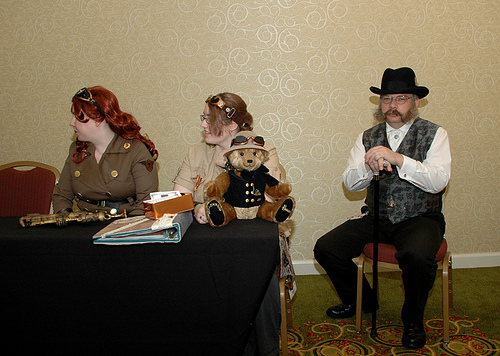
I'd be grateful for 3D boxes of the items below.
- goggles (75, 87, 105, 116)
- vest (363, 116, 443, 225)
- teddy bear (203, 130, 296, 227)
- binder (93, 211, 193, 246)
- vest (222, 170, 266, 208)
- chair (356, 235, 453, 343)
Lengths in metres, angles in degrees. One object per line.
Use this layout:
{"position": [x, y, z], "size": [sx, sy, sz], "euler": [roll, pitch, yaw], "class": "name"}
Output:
{"position": [-1.091, -0.531, 2.720], "size": [0.164, 0.176, 0.122], "euler": [8, 14, 32], "class": "goggles"}
{"position": [1.094, -0.052, 2.866], "size": [0.572, 0.759, 0.329], "euler": [3, 12, 14], "class": "vest"}
{"position": [-0.014, -0.019, 2.396], "size": [0.515, 0.512, 0.390], "euler": [-1, 12, -7], "class": "teddy bear"}
{"position": [-0.570, 0.252, 2.165], "size": [0.462, 0.127, 0.303], "euler": [0, 12, 0], "class": "binder"}
{"position": [-0.038, 0.058, 2.453], "size": [0.184, 0.239, 0.198], "euler": [-4, 16, -33], "class": "vest"}
{"position": [1.098, 0.672, 2.913], "size": [0.746, 0.791, 0.690], "euler": [-3, -9, 16], "class": "chair"}
